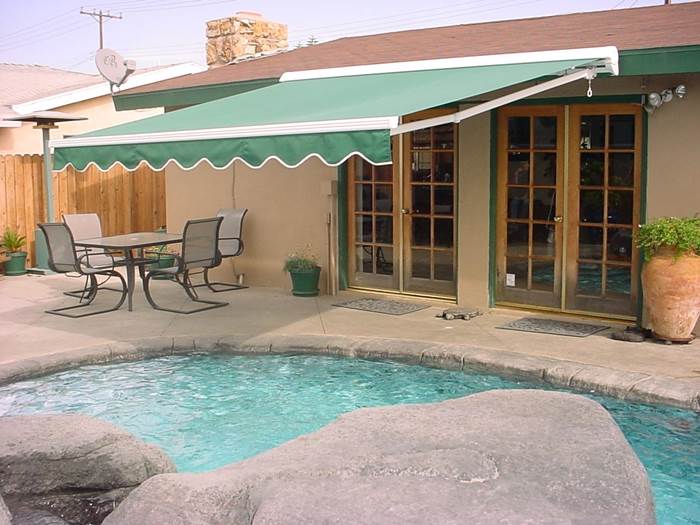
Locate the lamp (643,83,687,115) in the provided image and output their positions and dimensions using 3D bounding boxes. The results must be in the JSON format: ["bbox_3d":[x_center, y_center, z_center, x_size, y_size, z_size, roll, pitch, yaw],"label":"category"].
[{"bbox_3d":[4.482,-2.352,7.875,0.504,0.245,0.210,-19,-11,28],"label":"lamp"}]

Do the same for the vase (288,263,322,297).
[{"bbox_3d":[-0.908,0.365,10.881,0.742,0.412,0.642,-1,1,0],"label":"vase"}]

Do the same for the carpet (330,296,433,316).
[{"bbox_3d":[0.576,0.778,10.109,1.518,0.118,1.102,3,7,43],"label":"carpet"}]

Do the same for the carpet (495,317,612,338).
[{"bbox_3d":[3.153,0.986,8.506,1.348,0.078,0.981,2,6,35],"label":"carpet"}]

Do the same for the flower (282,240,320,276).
[{"bbox_3d":[-1.008,-0.076,11.199,0.751,0.429,0.757,-3,1,2],"label":"flower"}]
